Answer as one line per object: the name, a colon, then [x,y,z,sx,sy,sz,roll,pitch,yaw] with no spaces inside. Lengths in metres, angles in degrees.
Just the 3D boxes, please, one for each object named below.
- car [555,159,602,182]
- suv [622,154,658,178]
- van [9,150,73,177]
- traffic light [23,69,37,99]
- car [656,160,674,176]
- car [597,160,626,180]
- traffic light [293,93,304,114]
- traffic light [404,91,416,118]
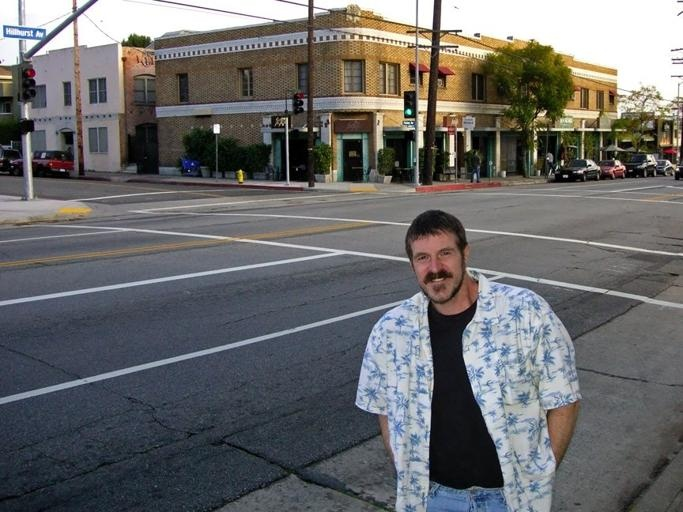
car: [17.843,-6.400,46.561,1.519,1.287,3.546,2,7,37]
suv: [26.826,-8.164,56.146,1.760,1.742,3.276,2,9,40]
van: [-21.100,-6.484,43.932,3.811,1.768,2.041,8,10,26]
traffic light: [-12.605,-7.000,25.139,0.481,1.418,0.884,-6,11,-33]
car: [31.458,-8.637,60.823,1.398,1.316,2.438,2,4,43]
car: [22.127,-7.148,51.362,1.430,1.289,3.129,0,3,38]
traffic light: [-2.367,-8.502,34.354,0.509,1.097,0.742,-2,10,-13]
traffic light: [3.845,-8.460,34.800,0.680,1.467,0.757,0,9,0]
